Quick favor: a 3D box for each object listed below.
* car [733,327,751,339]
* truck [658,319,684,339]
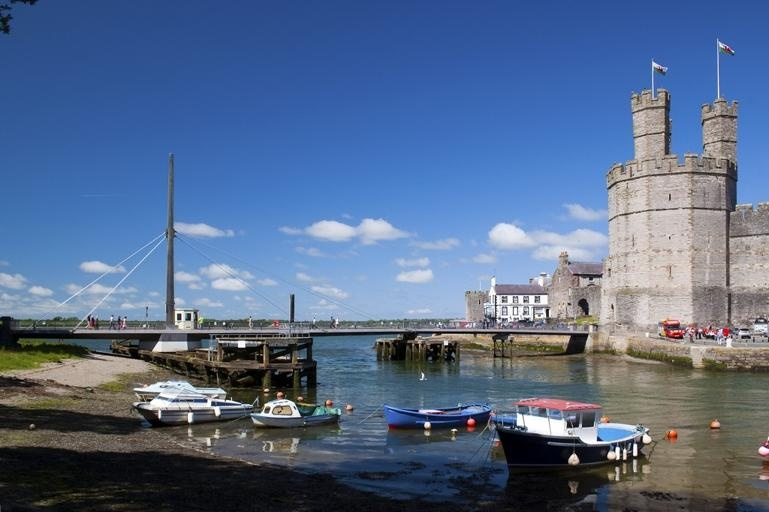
[{"bbox_3d":[39.231,8.436,96.790,1.220,0.644,2.413,-3,6,29],"label":"car"},{"bbox_3d":[32.085,8.272,98.733,2.032,1.287,2.900,2,4,6],"label":"truck"}]
